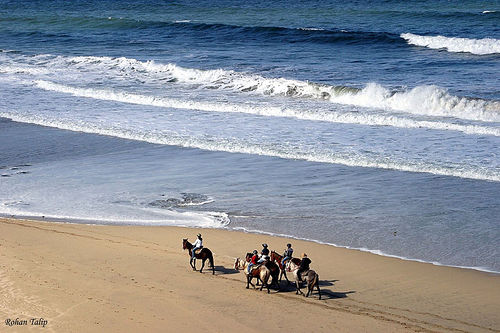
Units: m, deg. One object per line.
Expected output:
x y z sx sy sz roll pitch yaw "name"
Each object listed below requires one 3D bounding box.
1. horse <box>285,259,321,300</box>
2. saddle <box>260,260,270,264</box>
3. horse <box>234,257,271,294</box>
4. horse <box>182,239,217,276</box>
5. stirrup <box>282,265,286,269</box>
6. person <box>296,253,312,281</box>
2.114 4.192 26.333 1.512 1.332 0.582 10 9 43 "horse"
0.607 3.604 26.446 0.263 0.062 0.088 -17 -27 0 "saddle"
0.024 4.066 26.540 0.530 0.957 1.913 -18 -28 35 "horse"
-1.902 3.500 27.469 1.494 1.243 1.147 5 7 4 "horse"
1.307 3.819 26.689 0.118 0.125 0.064 6 -33 9 "stirrup"
2.004 3.779 26.441 0.486 1.018 0.469 6 9 3 "person"
